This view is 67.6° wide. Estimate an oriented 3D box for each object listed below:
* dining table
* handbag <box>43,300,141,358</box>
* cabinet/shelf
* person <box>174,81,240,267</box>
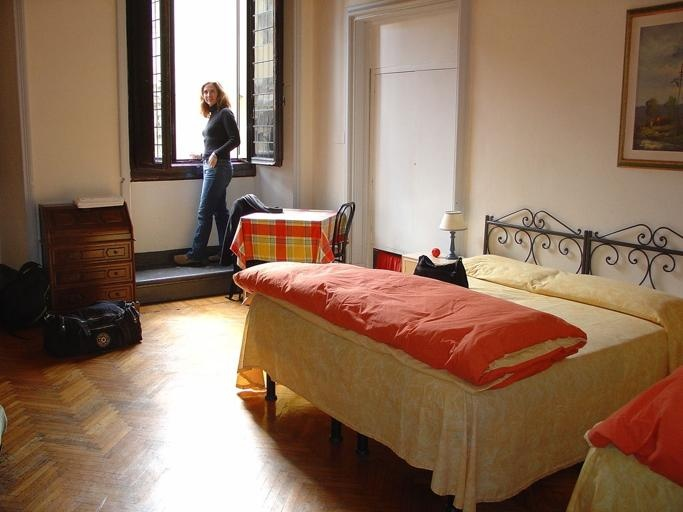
[{"bbox_3d":[-0.617,0.186,5.312,1.161,0.588,1.275,9,-33,-20],"label":"dining table"},{"bbox_3d":[-2.088,0.601,4.306,0.522,0.264,0.461,-8,10,-33],"label":"handbag"},{"bbox_3d":[-2.463,0.032,5.001,0.692,1.010,0.538,-4,-1,-32],"label":"cabinet/shelf"},{"bbox_3d":[-1.550,-0.941,5.968,0.690,2.083,0.366,-4,14,-19],"label":"person"}]
